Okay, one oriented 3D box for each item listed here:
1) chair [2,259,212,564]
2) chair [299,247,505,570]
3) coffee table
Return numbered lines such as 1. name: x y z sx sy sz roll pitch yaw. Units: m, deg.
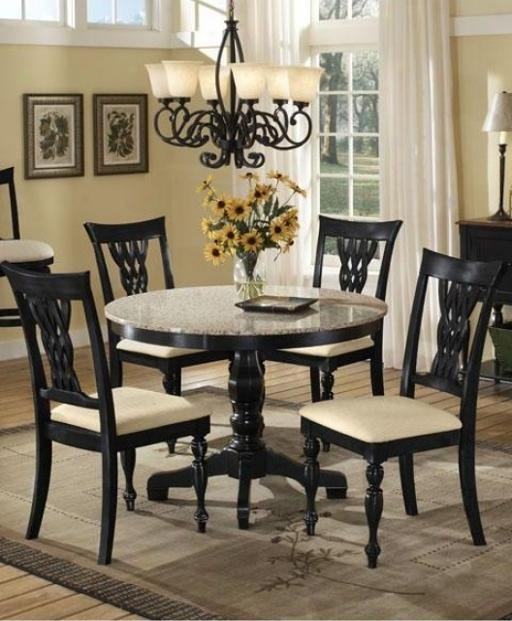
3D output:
1. chair: -0.472 0.294 2.105 0.470 0.885 0.551 3 5 34
2. chair: 0.474 0.264 2.065 0.536 0.926 0.442 -2 5 -26
3. coffee table: -0.041 0.335 2.456 0.988 0.665 0.939 -3 3 -36
